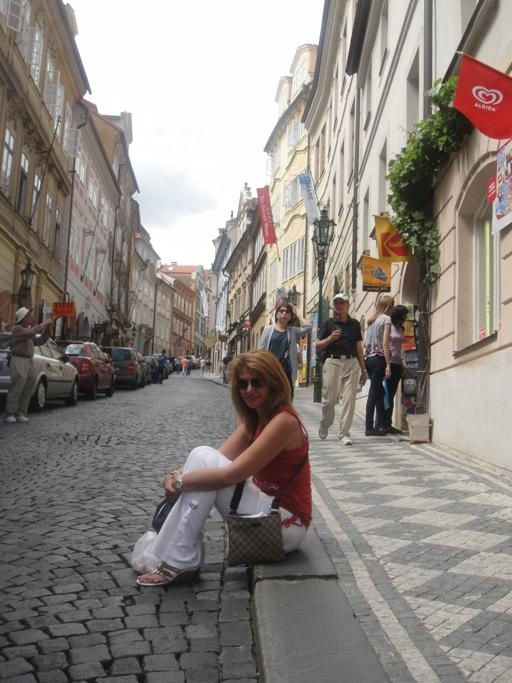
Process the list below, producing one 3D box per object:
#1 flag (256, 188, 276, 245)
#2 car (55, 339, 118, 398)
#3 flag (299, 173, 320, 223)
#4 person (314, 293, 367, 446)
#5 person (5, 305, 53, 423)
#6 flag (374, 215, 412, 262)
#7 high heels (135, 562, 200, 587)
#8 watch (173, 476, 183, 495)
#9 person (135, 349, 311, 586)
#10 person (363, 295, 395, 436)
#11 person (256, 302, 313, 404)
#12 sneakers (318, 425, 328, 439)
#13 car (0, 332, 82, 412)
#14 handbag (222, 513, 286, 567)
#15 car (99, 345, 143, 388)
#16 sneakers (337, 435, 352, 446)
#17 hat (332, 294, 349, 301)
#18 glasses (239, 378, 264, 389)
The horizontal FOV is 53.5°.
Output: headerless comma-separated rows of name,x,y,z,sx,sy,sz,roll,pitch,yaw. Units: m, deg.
flag,0.755,-9.512,38.615,1.152,0.050,5.034,3,-43,13
car,-6.089,0.998,17.837,1.598,2.010,4.295,1,-2,-4
flag,2.654,-7.248,25.601,0.615,3.169,0.048,-9,-24,2
person,1.317,0.460,7.985,0.754,2.271,0.980,4,-7,13
person,-4.525,0.459,9.970,0.685,2.267,0.854,8,-7,-25
flag,2.546,-2.012,9.808,0.459,0.949,0.832,12,-9,-43
high heels,-0.430,1.104,2.379,0.242,0.102,0.133,4,-8,-12
watch,-0.362,0.671,2.364,0.043,0.087,0.073,1,-13,7
person,-0.125,0.638,2.542,0.707,1.227,0.446,9,-7,-12
person,2.074,0.409,8.689,0.442,2.415,0.792,3,-7,14
person,0.321,0.284,7.225,0.739,1.706,0.426,5,-16,-2
sneakers,1.110,1.495,8.424,0.090,0.126,0.275,0,15,-4
car,-5.116,0.816,12.275,1.038,1.299,2.516,-1,3,3
handbag,-0.004,0.921,2.360,0.211,0.242,0.084,-3,-8,-13
car,-6.149,1.191,24.402,1.214,1.427,2.684,0,2,2
sneakers,1.337,1.512,7.733,0.230,0.144,0.199,2,-9,29
hat,1.279,-0.666,7.747,0.218,0.136,0.209,7,-8,0
glasses,-0.033,0.211,2.540,0.063,0.033,0.070,-6,-25,19
